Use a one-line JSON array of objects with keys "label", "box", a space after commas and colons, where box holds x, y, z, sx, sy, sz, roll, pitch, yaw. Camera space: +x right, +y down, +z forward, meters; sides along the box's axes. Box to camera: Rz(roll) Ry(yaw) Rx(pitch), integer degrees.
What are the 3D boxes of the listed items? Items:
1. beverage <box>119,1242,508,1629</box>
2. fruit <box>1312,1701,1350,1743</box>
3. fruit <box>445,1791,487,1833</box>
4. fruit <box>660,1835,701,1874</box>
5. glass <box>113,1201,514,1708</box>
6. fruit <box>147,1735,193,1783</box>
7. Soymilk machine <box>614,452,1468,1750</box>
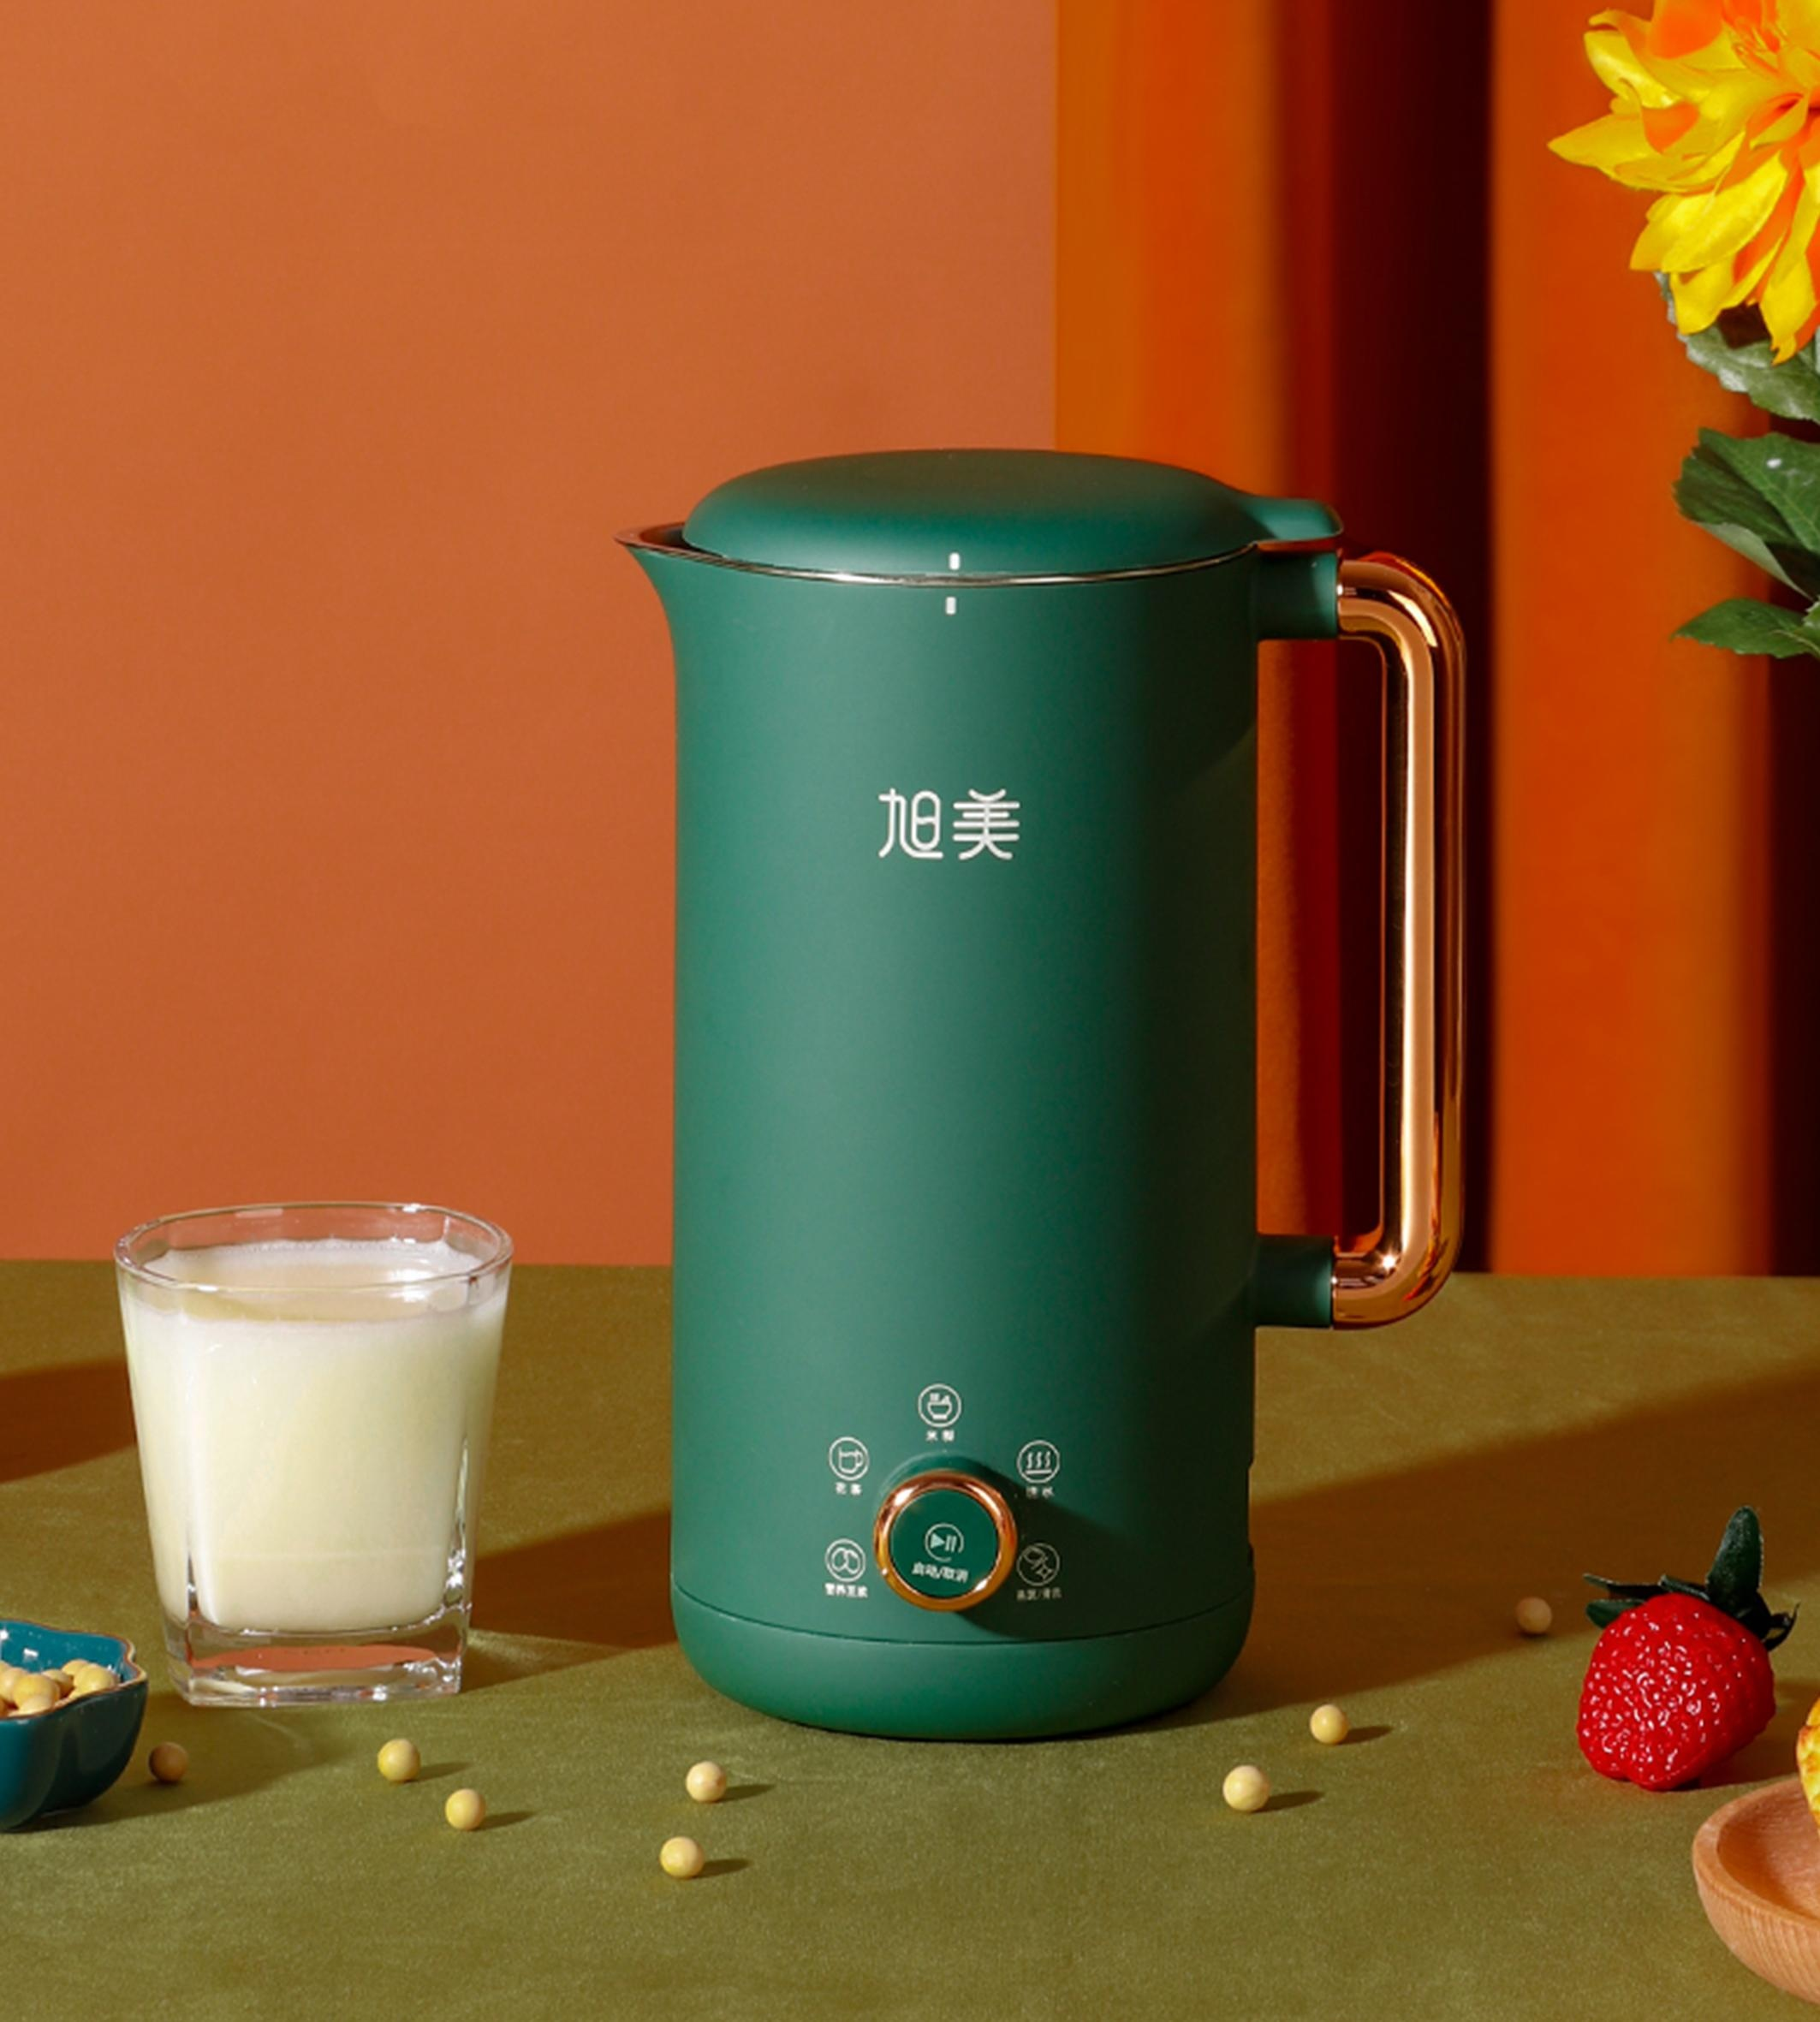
[{"label": "beverage", "box": [-0.139, 0.103, 0.486, 0.085, 0.085, 0.040, 0, 3, -14]}, {"label": "fruit", "box": [0.095, 0.161, 0.474, 0.010, 0.009, 0.009, 0, 3, 5]}, {"label": "fruit", "box": [-0.091, 0.163, 0.426, 0.010, 0.009, 0.008, 0, -12, -7]}, {"label": "fruit", "box": [-0.045, 0.165, 0.406, 0.008, 0.006, 0.007, 1, -10, 31]}, {"label": "glass", "box": [-0.123, 0.120, 0.517, 0.109, 0.096, 0.102, 9, -17, -32]}, {"label": "fruit", "box": [-0.159, 0.160, 0.447, 0.010, 0.008, 0.009, 0, 1, 5]}, {"label": "Soymilk machine", "box": [0.035, 0.016, 0.486, 0.201, 0.297, 0.113, 1, 3, 4]}]
